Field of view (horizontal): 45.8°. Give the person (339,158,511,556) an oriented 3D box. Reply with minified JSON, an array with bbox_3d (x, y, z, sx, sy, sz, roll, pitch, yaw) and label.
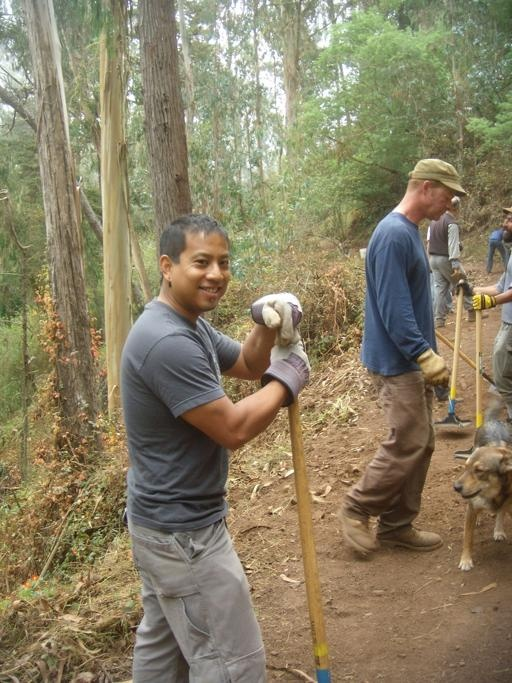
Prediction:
[{"bbox_3d":[0.933,0.177,3.971,1.057,2.638,0.743,-11,11,-6],"label":"person"}]

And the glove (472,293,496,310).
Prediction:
[{"bbox_3d":[2.054,-0.356,5.485,0.175,0.085,0.139,2,11,4],"label":"glove"}]

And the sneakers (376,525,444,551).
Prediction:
[{"bbox_3d":[1.067,1.386,4.218,0.410,0.175,0.176,-1,8,5],"label":"sneakers"}]

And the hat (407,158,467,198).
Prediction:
[{"bbox_3d":[1.193,-1.072,3.946,0.345,0.169,0.219,10,9,-8],"label":"hat"}]

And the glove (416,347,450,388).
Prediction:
[{"bbox_3d":[1.062,0.163,3.683,0.174,0.226,0.080,-33,10,1],"label":"glove"}]
